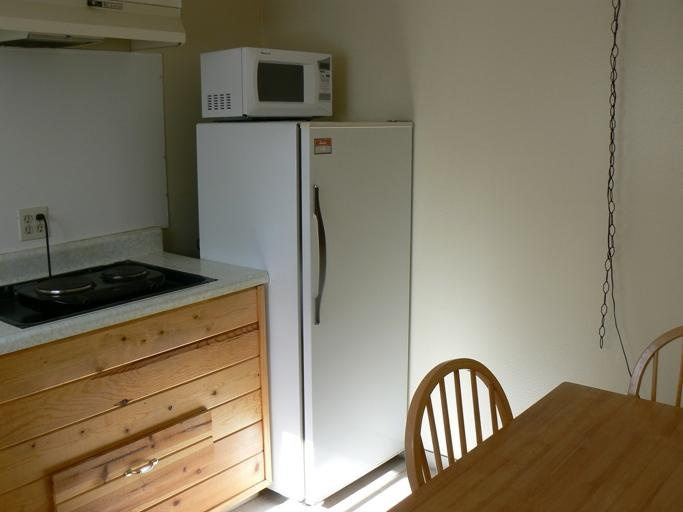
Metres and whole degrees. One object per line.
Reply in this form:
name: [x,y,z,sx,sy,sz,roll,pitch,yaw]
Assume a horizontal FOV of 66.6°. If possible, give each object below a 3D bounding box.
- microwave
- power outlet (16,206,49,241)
microwave: [-0.351,-0.824,2.504,0.628,0.314,0.289,-2,15,-16]
power outlet: [-1.402,-0.149,2.343,0.015,0.160,0.130,12,15,30]
